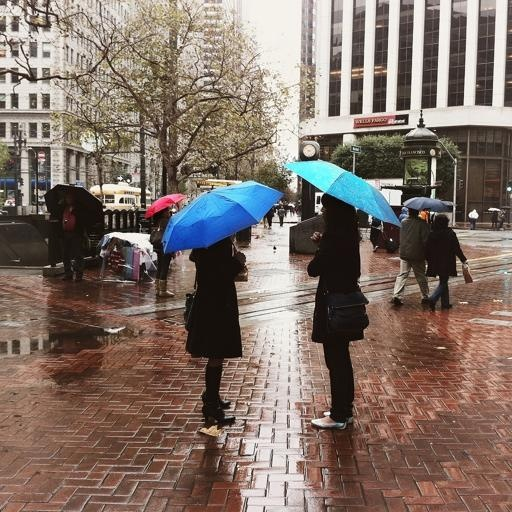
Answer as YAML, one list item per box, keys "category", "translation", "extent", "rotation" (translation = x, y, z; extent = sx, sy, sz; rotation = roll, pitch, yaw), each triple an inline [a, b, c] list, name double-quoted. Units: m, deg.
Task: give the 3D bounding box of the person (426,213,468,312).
- category: "person"
  translation: [3.342, 0.116, 9.671]
  extent: [0.647, 1.717, 1.047]
  rotation: [2, 5, 16]

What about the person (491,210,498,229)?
- category: "person"
  translation: [19.649, -2.969, 44.785]
  extent: [0.417, 1.470, 2.238]
  rotation: [3, 5, 23]

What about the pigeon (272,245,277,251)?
- category: "pigeon"
  translation: [0.784, -0.328, 23.303]
  extent: [0.139, 0.159, 0.222]
  rotation: [-1, 14, -4]

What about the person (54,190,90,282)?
- category: "person"
  translation: [-4.414, -0.510, 13.084]
  extent: [0.524, 2.153, 0.977]
  rotation: [-1, 5, -20]

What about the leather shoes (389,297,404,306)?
- category: "leather shoes"
  translation: [2.595, 0.846, 10.125]
  extent: [0.110, 0.110, 0.272]
  rotation: [-1, 17, 34]

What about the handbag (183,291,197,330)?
- category: "handbag"
  translation: [-0.533, 0.422, 4.303]
  extent: [0.091, 0.255, 0.188]
  rotation: [8, 6, -3]

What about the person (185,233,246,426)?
- category: "person"
  translation: [-0.328, 0.596, 4.260]
  extent: [0.470, 1.490, 0.608]
  rotation: [1, 4, -2]

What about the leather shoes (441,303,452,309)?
- category: "leather shoes"
  translation: [3.430, 0.910, 9.828]
  extent: [0.124, 0.083, 0.040]
  rotation: [-24, 30, -14]

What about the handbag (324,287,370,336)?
- category: "handbag"
  translation: [0.671, 0.429, 4.161]
  extent: [0.404, 0.354, 0.199]
  rotation: [0, 6, -3]

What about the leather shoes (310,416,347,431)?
- category: "leather shoes"
  translation: [0.565, 1.295, 4.278]
  extent: [0.285, 0.105, 0.102]
  rotation: [4, 4, 8]

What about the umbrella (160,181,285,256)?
- category: "umbrella"
  translation: [-0.251, -0.304, 4.213]
  extent: [0.898, 0.541, 0.535]
  rotation: [-1, 5, -17]

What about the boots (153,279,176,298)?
- category: "boots"
  translation: [-1.772, 0.644, 10.647]
  extent: [0.353, 0.313, 0.387]
  rotation: [-5, 9, -35]
